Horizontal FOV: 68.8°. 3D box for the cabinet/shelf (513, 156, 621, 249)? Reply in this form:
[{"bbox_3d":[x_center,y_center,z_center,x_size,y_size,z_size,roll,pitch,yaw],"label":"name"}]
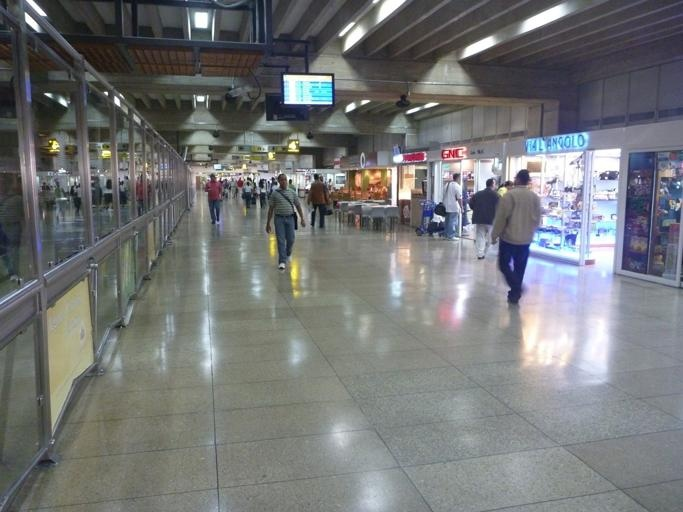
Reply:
[{"bbox_3d":[4.549,-1.159,10.124,1.080,1.952,2.078,-2,4,-17],"label":"cabinet/shelf"}]

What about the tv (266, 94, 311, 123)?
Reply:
[{"bbox_3d":[-1.396,-3.627,12.436,1.225,0.802,0.663,-1,10,-6],"label":"tv"}]

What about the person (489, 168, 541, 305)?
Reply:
[{"bbox_3d":[2.439,-0.272,7.002,0.644,1.880,0.511,3,5,-9],"label":"person"}]

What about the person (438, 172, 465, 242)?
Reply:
[{"bbox_3d":[3.051,-1.353,13.734,0.529,1.775,1.226,2,9,11],"label":"person"}]

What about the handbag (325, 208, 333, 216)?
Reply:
[{"bbox_3d":[-0.413,-1.537,17.298,0.239,0.240,0.241,-1,-6,-8],"label":"handbag"}]
